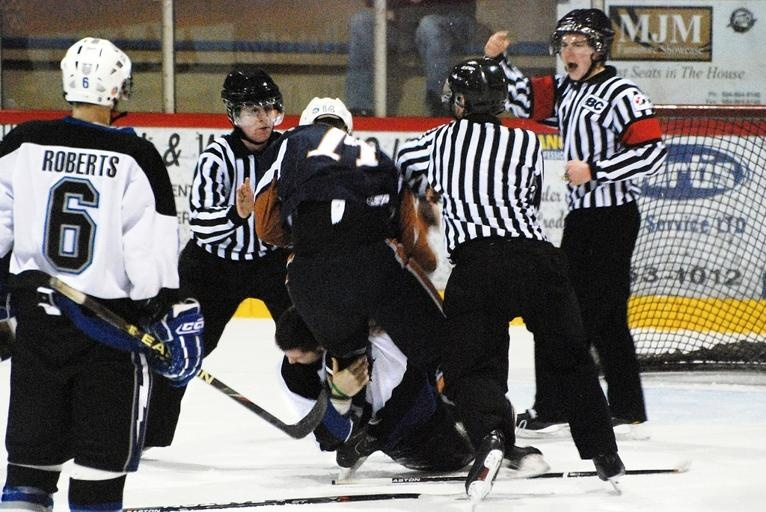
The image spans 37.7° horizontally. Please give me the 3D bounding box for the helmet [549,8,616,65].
[{"bbox_3d":[1.139,-1.255,6.404,0.352,0.270,0.277,2,0,-1],"label":"helmet"}]

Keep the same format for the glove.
[{"bbox_3d":[-0.907,0.318,5.119,0.273,0.143,0.365,-9,27,-17],"label":"glove"}]

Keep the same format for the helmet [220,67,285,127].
[{"bbox_3d":[-0.742,-0.914,6.313,0.351,0.354,0.389,-3,14,-8],"label":"helmet"}]

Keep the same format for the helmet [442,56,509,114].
[{"bbox_3d":[0.475,-0.843,5.665,0.357,0.323,0.287,16,24,37],"label":"helmet"}]

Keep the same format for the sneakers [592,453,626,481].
[{"bbox_3d":[1.112,1.030,5.482,0.152,0.153,0.084,1,7,11],"label":"sneakers"}]
